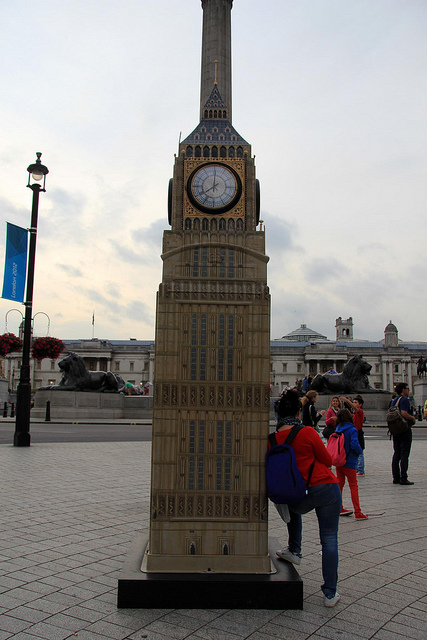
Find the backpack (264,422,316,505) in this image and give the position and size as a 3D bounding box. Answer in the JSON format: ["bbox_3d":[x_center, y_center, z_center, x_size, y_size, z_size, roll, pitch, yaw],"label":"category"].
[{"bbox_3d":[0.599,1.120,5.227,0.348,0.562,0.381,14,-23,-32],"label":"backpack"}]

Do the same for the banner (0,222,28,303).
[{"bbox_3d":[-5.067,-1.424,17.025,0.578,1.916,0.576,5,-8,-20],"label":"banner"}]

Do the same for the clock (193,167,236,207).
[{"bbox_3d":[-0.005,-1.156,5.879,0.362,0.342,0.028,0,-4,-2],"label":"clock"}]

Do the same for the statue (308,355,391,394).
[{"bbox_3d":[6.726,2.839,33.645,4.043,2.021,1.316,-2,-16,18],"label":"statue"}]

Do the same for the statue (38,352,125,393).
[{"bbox_3d":[-5.925,2.599,31.716,4.050,1.712,1.437,5,-5,-24],"label":"statue"}]

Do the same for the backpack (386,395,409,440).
[{"bbox_3d":[3.123,1.620,11.278,0.349,0.651,0.502,1,-7,15],"label":"backpack"}]

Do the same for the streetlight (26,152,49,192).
[{"bbox_3d":[-4.250,-3.591,16.071,0.603,0.879,0.606,1,-1,36],"label":"streetlight"}]

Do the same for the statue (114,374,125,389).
[{"bbox_3d":[-4.599,3.009,32.533,0.554,0.905,0.505,-5,-14,-1],"label":"statue"}]
